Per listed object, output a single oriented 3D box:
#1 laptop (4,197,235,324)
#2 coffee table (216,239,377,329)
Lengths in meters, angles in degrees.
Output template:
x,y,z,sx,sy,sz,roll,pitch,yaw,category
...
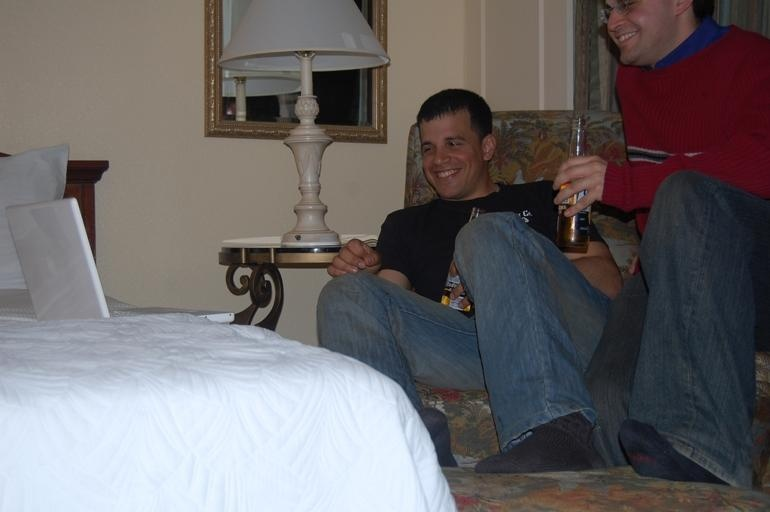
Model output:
x,y,z,sx,sy,sz,roll,pitch,yaw,category
-0.736,0.029,1.901,0.405,0.274,0.382,-8,-9,43,laptop
-0.368,0.054,2.662,0.411,0.308,0.445,0,0,-36,coffee table
